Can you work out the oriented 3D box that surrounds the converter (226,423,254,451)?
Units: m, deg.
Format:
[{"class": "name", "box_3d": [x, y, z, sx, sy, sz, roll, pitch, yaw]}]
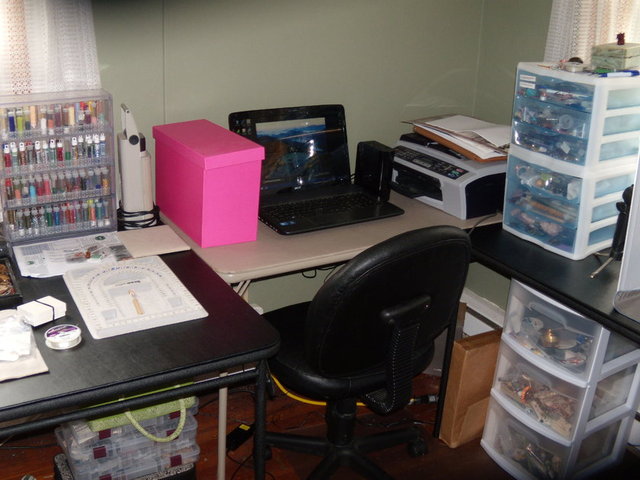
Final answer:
[{"class": "converter", "box_3d": [-0.340, 0.812, 2.160, 0.056, 0.026, 0.110, 19, 37, 35]}]

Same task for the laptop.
[{"class": "laptop", "box_3d": [0.023, -0.301, 2.060, 0.636, 0.355, 0.523, -15, 30, -33]}]

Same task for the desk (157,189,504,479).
[{"class": "desk", "box_3d": [-0.060, 0.073, 2.203, 1.270, 0.954, 0.999, -17, 34, -30]}]

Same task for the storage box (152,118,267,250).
[{"class": "storage box", "box_3d": [-0.444, -0.266, 1.911, 0.205, 0.262, 0.388, -20, 32, -28]}]

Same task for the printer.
[{"class": "printer", "box_3d": [0.509, -0.291, 2.244, 0.354, 0.263, 0.481, -11, 28, -37]}]

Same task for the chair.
[{"class": "chair", "box_3d": [0.150, 0.413, 1.776, 0.601, 0.946, 0.609, -14, 38, -27]}]

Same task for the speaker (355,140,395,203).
[{"class": "speaker", "box_3d": [0.224, -0.278, 2.161, 0.066, 0.203, 0.202, -16, 38, -30]}]
